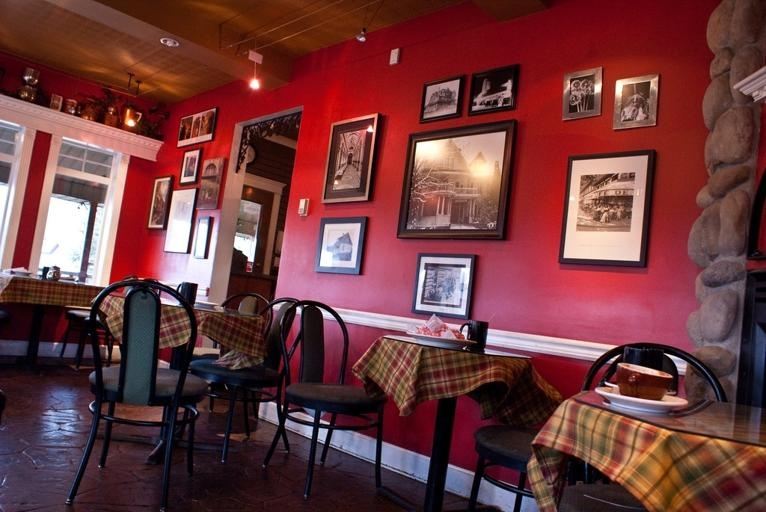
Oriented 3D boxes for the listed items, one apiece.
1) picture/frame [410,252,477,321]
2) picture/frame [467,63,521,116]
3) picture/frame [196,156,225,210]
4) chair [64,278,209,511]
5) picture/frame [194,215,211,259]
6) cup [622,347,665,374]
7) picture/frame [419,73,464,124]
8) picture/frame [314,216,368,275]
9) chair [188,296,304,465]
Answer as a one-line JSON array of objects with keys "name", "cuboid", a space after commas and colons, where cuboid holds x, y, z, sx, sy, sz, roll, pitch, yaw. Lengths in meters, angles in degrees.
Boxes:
[{"name": "picture/frame", "cuboid": [0.490, 0.244, 4.036, 0.530, 0.513, 0.036, 7, -10, 41]}, {"name": "picture/frame", "cuboid": [0.881, -1.275, 4.060, 0.496, 0.409, 0.037, 0, -11, 42]}, {"name": "picture/frame", "cuboid": [-2.119, -0.865, 6.397, 0.083, 0.412, 0.488, 8, -4, -44]}, {"name": "chair", "cuboid": [-1.541, 0.792, 3.431, 0.739, 0.983, 1.127, 6, -3, -24]}, {"name": "picture/frame", "cuboid": [-2.209, -0.223, 6.309, 0.048, 0.493, 0.306, 6, 1, 14]}, {"name": "cup", "cuboid": [0.941, 0.362, 1.882, 0.091, 0.085, 0.121, 6, 5, 44]}, {"name": "picture/frame", "cuboid": [0.500, -1.285, 4.315, 0.489, 0.390, 0.051, -1, -11, 43]}, {"name": "picture/frame", "cuboid": [-0.389, -0.093, 4.775, 0.604, 0.515, 0.028, 1, -10, 44]}, {"name": "chair", "cuboid": [-1.183, 0.871, 4.136, 0.864, 1.176, 0.765, 6, -3, -25]}]
